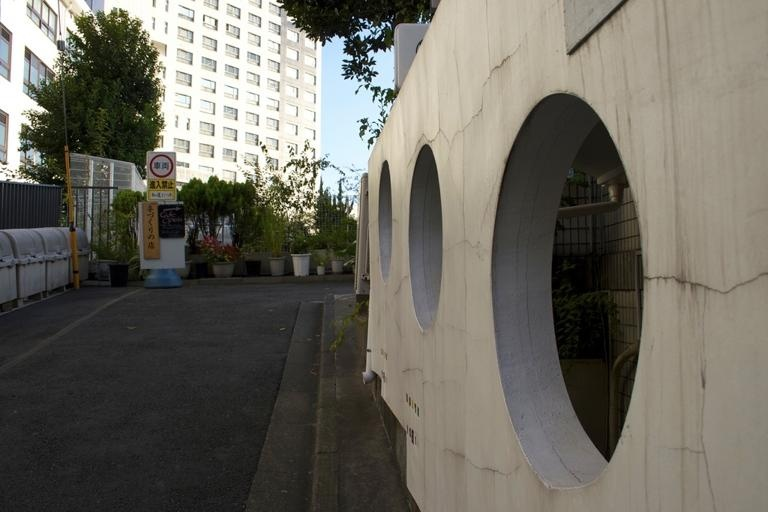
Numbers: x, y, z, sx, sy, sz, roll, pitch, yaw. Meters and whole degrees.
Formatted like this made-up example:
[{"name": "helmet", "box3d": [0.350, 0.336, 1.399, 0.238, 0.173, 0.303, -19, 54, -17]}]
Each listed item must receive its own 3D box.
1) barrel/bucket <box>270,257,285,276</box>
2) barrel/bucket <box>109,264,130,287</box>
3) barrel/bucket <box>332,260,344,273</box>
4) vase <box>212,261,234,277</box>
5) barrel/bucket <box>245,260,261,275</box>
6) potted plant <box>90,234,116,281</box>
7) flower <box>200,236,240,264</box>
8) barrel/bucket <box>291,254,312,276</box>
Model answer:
[{"name": "barrel/bucket", "box3d": [-3.063, 0.274, 18.602, 0.300, 0.533, 0.506, 2, 2, 37]}, {"name": "barrel/bucket", "box3d": [-6.325, 0.435, 15.395, 0.449, 0.563, 0.484, 2, 2, 0]}, {"name": "barrel/bucket", "box3d": [-1.361, 0.277, 18.823, 0.299, 0.281, 0.318, 2, 1, 0]}, {"name": "vase", "box3d": [-4.518, 0.349, 18.005, 0.399, 0.333, 0.439, -1, -2, 8]}, {"name": "barrel/bucket", "box3d": [-3.805, 0.289, 18.598, 0.369, 0.443, 0.391, 2, 2, 0]}, {"name": "potted plant", "box3d": [-7.368, 0.014, 16.764, 0.557, 1.110, 1.983, 0, 2, -23]}, {"name": "flower", "box3d": [-4.660, -0.177, 18.233, 1.071, 0.693, 0.788, 0, 2, -18]}, {"name": "barrel/bucket", "box3d": [-2.382, 0.239, 18.563, 0.516, 0.548, 0.550, 0, -2, 0]}]
